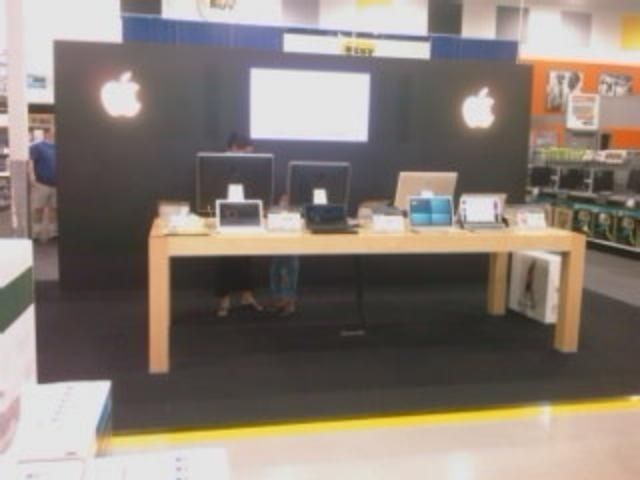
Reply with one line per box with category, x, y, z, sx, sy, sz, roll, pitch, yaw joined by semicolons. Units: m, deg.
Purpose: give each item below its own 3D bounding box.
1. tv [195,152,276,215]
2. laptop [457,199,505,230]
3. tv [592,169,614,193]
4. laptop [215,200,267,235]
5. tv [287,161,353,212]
tv;-0.706;-0.476;4.478;0.652;0.573;0.332;2;27;-5
laptop;1.262;-0.210;4.075;0.261;0.282;0.064;2;-8;-7
tv;4.204;-0.859;7.713;0.332;0.348;0.179;0;3;9
laptop;-0.590;-0.165;3.803;0.388;0.282;0.215;0;2;-7
tv;-0.017;-0.420;4.201;0.478;0.381;0.051;-1;23;-9
